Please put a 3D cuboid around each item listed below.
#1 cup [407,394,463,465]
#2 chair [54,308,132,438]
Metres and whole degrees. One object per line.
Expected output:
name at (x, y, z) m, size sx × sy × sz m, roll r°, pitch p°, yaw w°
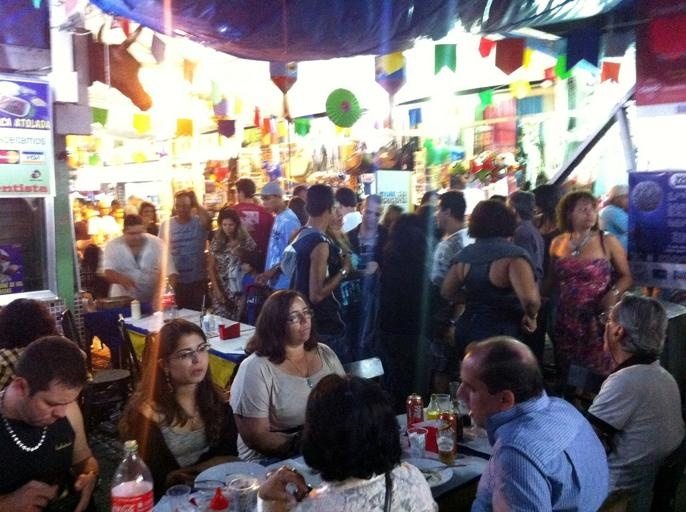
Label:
cup at (0.616, 1.097, 3.403) m, size 0.230 × 0.397 × 0.380 m, roll -1°, pitch -2°, yaw -27°
chair at (-2.745, 1.324, 6.208) m, size 0.652 × 1.058 × 0.627 m, roll 1°, pitch 6°, yaw -6°
